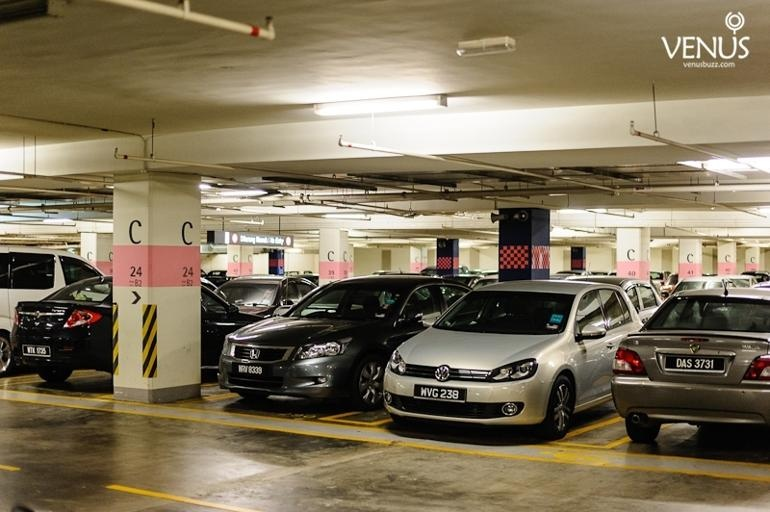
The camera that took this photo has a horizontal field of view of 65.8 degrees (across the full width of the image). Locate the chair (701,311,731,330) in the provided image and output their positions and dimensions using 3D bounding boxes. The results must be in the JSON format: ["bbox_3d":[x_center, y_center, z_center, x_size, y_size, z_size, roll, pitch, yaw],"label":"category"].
[{"bbox_3d":[3.927,0.751,7.056,0.239,0.136,0.363,2,3,28],"label":"chair"}]
